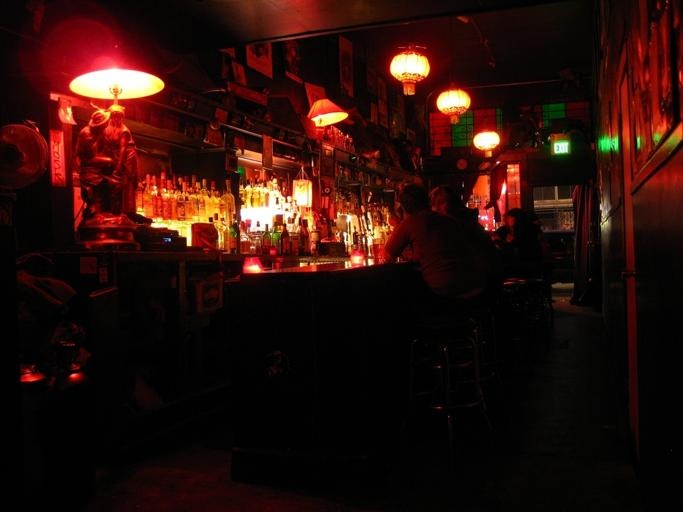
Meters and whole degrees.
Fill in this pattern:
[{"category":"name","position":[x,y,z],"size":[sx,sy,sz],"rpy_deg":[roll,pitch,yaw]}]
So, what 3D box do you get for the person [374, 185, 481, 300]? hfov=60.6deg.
[{"category":"person","position":[0.587,-0.130,3.952],"size":[0.466,0.746,0.668],"rpy_deg":[-3,4,-30]}]
